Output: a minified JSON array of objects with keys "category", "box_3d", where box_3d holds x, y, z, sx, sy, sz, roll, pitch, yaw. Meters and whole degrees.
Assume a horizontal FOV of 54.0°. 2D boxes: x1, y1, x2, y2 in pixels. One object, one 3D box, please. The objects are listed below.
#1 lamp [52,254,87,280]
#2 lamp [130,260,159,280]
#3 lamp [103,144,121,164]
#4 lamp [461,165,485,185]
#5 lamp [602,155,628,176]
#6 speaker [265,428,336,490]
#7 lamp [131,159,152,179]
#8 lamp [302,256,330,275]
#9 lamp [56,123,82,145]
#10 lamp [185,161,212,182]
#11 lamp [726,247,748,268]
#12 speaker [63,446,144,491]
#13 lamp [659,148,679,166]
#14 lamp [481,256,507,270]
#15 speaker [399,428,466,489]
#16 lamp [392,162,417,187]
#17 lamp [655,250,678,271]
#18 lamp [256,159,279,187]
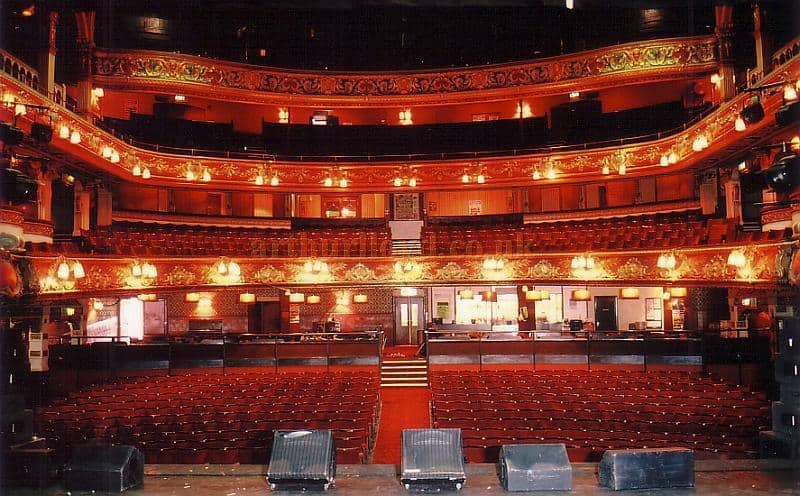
[{"category":"lamp","box_3d":[-11.572,0.460,27.384,0.686,1.220,1.492,-2,0,5]},{"category":"lamp","box_3d":[-9.940,0.873,30.530,0.806,0.591,0.779,-7,-8,27]},{"category":"lamp","box_3d":[-11.577,-3.714,31.337,0.503,0.547,0.551,38,17,-9]},{"category":"lamp","box_3d":[3.308,-3.315,36.001,0.995,0.823,0.964,2,-2,-2]},{"category":"lamp","box_3d":[9.340,-3.587,34.186,1.049,0.892,0.436,0,-4,33]},{"category":"speaker","box_3d":[-2.650,5.699,21.118,1.725,1.550,0.459,-2,-10,3]},{"category":"lamp","box_3d":[-11.051,-3.343,33.423,0.403,0.722,0.869,-4,6,4]},{"category":"lamp","box_3d":[-3.598,0.740,34.076,0.859,0.742,0.189,-2,10,-4]},{"category":"lamp","box_3d":[-12.052,-3.879,28.672,0.559,0.809,1.330,-3,6,-6]},{"category":"lamp","box_3d":[-9.003,-3.365,34.945,1.006,0.845,0.372,4,-12,-22]},{"category":"lamp","box_3d":[11.554,0.338,26.972,0.385,0.699,0.661,-2,-10,2]},{"category":"speaker","box_3d":[-7.837,5.866,20.889,1.954,1.214,0.602,2,-11,-18]},{"category":"lamp","box_3d":[11.182,-3.774,32.687,0.366,0.671,0.819,6,-5,-14]},{"category":"lamp","box_3d":[4.001,0.677,33.545,0.988,0.541,0.452,-1,-10,-3]},{"category":"speaker","box_3d":[0.894,5.768,21.687,1.730,1.341,1.636,1,-11,2]},{"category":"lamp","box_3d":[0.179,-3.352,36.272,1.144,0.948,1.062,1,6,7]},{"category":"lamp","box_3d":[10.290,0.490,30.252,0.583,0.713,0.254,10,0,43]},{"category":"lamp","box_3d":[-6.075,-3.443,35.898,1.410,1.157,0.417,2,-5,-13]}]
